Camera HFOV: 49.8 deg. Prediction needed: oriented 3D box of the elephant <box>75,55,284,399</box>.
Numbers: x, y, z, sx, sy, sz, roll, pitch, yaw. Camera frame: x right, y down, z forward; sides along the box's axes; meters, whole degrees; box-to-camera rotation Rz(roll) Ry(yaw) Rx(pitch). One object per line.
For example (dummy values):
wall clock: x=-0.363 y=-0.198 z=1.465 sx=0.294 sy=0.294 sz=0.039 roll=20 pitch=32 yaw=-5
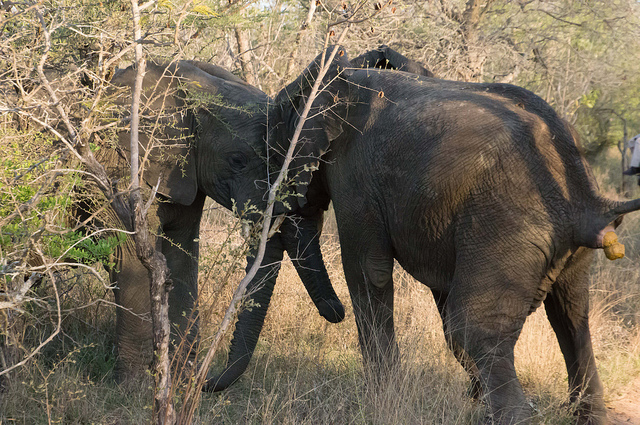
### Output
elephant: x=-1.233 y=0.054 z=6.479 sx=1.837 sy=3.276 sz=1.612 roll=21 pitch=-23 yaw=-33
